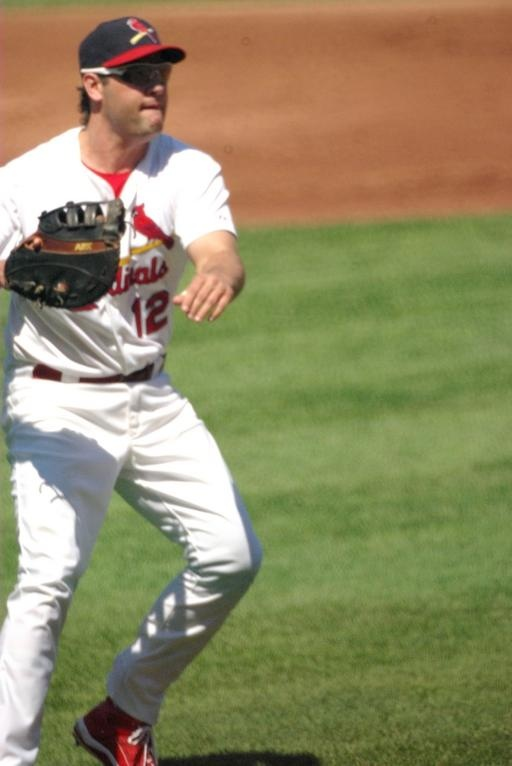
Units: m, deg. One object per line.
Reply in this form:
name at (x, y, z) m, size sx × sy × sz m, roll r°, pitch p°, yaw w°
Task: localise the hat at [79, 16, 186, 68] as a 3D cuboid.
hat at (-0.385, -0.975, 3.953) m, size 0.238 × 0.112 × 0.182 m, roll -2°, pitch 9°, yaw 40°
